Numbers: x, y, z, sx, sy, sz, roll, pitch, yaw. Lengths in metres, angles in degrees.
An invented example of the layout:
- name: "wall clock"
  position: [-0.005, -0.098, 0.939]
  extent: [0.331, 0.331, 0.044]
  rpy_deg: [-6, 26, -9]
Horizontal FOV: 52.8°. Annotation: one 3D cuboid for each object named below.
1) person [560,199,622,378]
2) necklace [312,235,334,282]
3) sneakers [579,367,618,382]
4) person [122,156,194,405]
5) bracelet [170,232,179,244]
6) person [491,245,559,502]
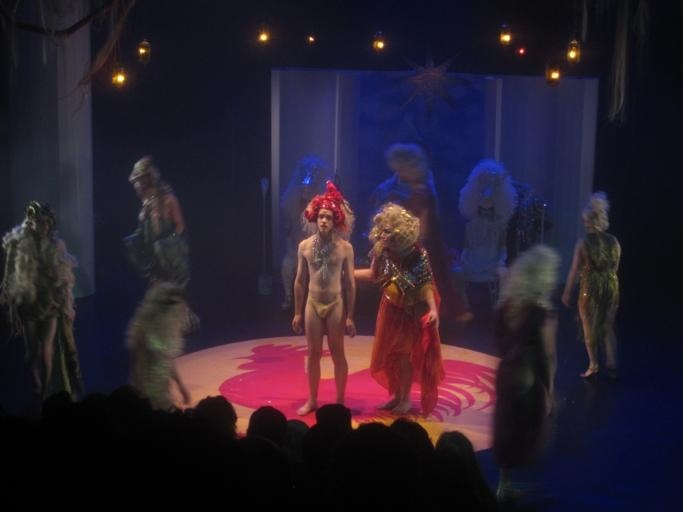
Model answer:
- name: "person"
  position: [2.373, 0.253, 6.382]
  extent: [0.490, 1.622, 0.624]
  rpy_deg: [0, 10, 0]
- name: "necklace"
  position: [-0.153, 0.021, 5.881]
  extent: [0.167, 0.341, 0.134]
  rpy_deg: [0, 10, 4]
- name: "sneakers"
  position: [2.324, 1.079, 6.255]
  extent: [0.333, 0.129, 0.138]
  rpy_deg: [-5, -35, 31]
- name: "person"
  position: [-1.458, 0.254, 5.559]
  extent: [0.562, 2.015, 1.197]
  rpy_deg: [-3, 11, -13]
- name: "bracelet"
  position: [-1.413, -0.154, 5.851]
  extent: [0.081, 0.066, 0.083]
  rpy_deg: [-1, -4, 42]
- name: "person"
  position: [1.175, 0.644, 4.383]
  extent: [0.351, 1.359, 0.435]
  rpy_deg: [3, 11, 16]
